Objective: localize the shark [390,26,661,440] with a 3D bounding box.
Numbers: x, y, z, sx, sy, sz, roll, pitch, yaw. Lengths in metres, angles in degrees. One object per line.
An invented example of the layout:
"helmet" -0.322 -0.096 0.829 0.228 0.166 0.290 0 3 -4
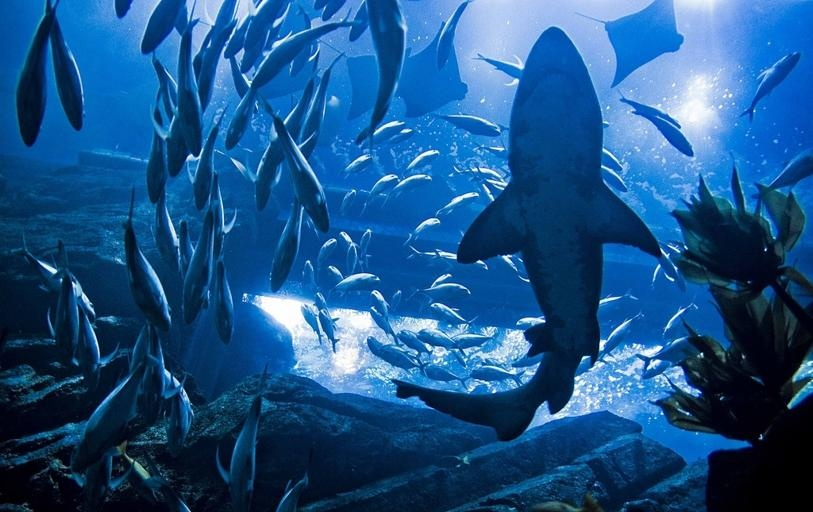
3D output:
"shark" 1.804 -0.718 12.456 3.415 8.617 5.616 0 -1 1
